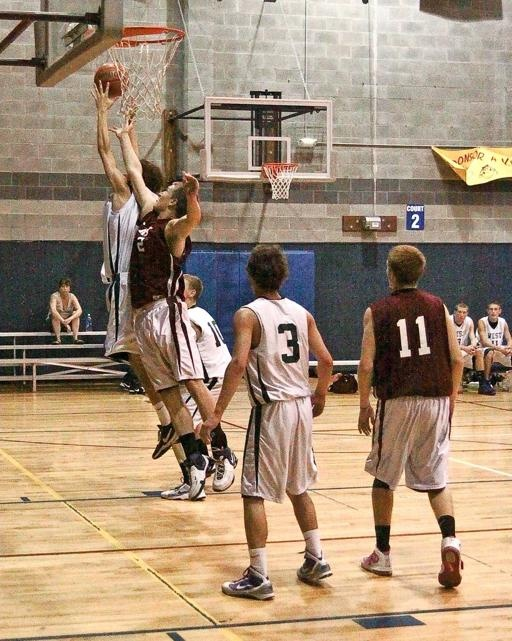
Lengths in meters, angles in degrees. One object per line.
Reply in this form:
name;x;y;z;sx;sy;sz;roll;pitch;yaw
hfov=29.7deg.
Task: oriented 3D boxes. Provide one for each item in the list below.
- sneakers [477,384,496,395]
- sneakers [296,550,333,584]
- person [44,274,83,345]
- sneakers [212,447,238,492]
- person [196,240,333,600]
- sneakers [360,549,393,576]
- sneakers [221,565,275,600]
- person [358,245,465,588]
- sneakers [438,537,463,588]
sneakers;2.686;0.797;11.337;0.181;0.138;0.313;1;4;14
sneakers;0.224;0.989;3.867;0.065;0.123;0.204;-6;-3;-13
person;-2.375;-0.116;11.967;0.389;0.791;0.453;-1;3;-13
sneakers;-0.178;0.799;5.330;0.097;0.141;0.311;-14;25;19
person;0.067;0.481;3.784;0.536;1.139;0.286;-2;3;-33
sneakers;0.495;1.010;4.030;0.059;0.111;0.159;1;1;-15
sneakers;-0.025;1.006;3.710;0.239;0.150;0.085;3;-7;25
person;0.617;0.373;3.919;0.427;1.353;0.426;1;3;12
sneakers;0.755;0.937;3.759;0.074;0.214;0.090;0;19;10
